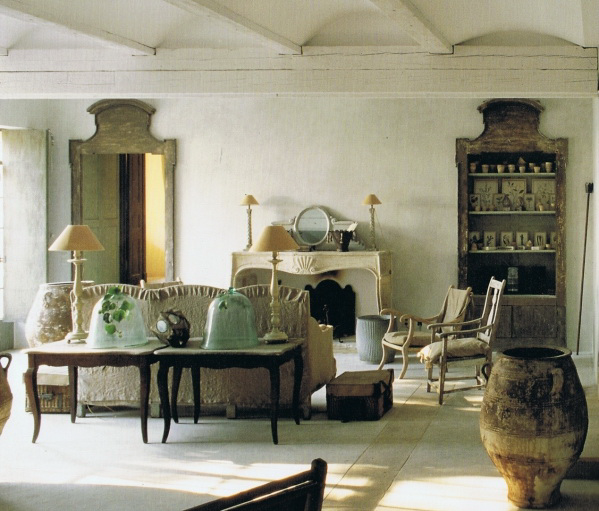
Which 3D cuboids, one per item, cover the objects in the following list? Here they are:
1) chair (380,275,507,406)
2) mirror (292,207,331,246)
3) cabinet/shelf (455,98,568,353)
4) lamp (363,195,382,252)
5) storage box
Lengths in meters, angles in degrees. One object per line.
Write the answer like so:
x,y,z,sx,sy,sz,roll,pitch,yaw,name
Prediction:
1.598,0.885,7.789,1.036,1.556,0.960,1,-1,-6,chair
0.162,-0.349,9.743,0.449,0.560,0.090,5,0,10,mirror
2.565,-0.409,9.373,1.300,2.889,0.894,1,9,12,cabinet/shelf
0.924,-0.410,9.620,0.183,0.694,0.447,0,9,6,lamp
0.510,1.210,6.668,0.366,0.250,0.478,-1,1,16,storage box
